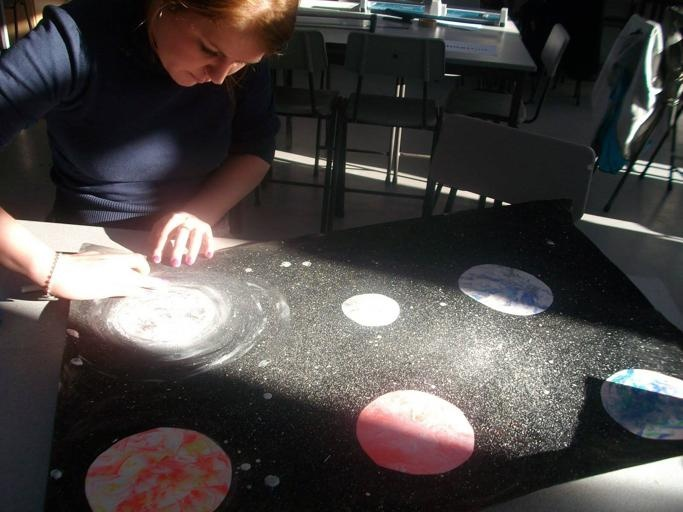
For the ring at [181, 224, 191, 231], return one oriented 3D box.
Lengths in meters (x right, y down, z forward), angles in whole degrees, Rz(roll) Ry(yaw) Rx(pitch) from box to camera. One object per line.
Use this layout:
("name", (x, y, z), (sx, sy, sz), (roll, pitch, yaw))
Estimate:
("ring", (-0.418, -0.080, 1.371), (0.021, 0.023, 0.021), (-8, 13, 2))
